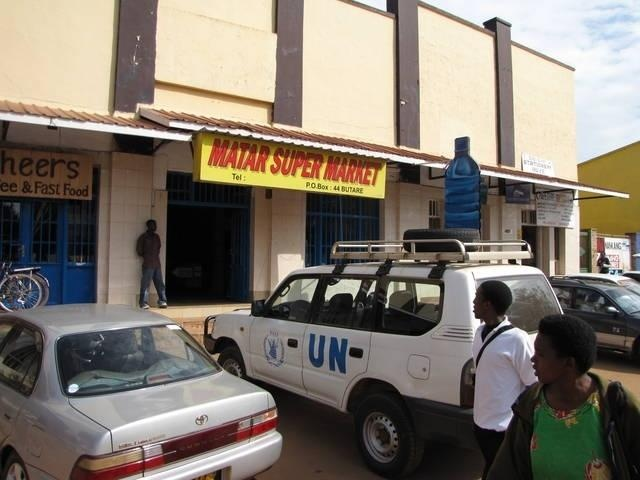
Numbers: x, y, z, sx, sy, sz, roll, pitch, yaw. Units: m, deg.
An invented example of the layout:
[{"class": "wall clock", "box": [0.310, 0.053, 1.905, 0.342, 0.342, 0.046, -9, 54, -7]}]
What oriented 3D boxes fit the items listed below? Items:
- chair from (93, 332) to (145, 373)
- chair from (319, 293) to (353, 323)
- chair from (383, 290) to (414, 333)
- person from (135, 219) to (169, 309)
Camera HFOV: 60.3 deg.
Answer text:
[{"class": "chair", "box": [-1.987, 1.112, 5.498, 0.349, 0.436, 0.398, 1, -4, -5]}, {"class": "chair", "box": [0.216, 0.830, 6.595, 0.302, 0.480, 0.367, 12, -12, -14]}, {"class": "chair", "box": [0.931, 0.789, 6.257, 0.310, 0.485, 0.454, 0, -10, 1]}, {"class": "person", "box": [-3.527, 0.502, 11.487, 0.589, 1.838, 0.531, -3, 9, -34]}]
